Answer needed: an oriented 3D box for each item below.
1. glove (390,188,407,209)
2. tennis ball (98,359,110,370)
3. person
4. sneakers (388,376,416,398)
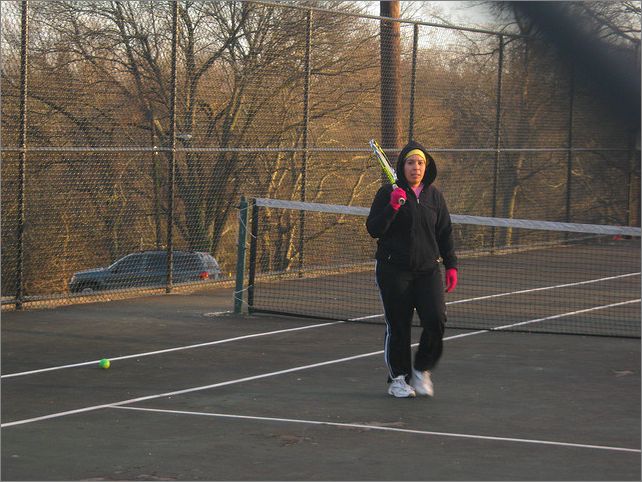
[{"bbox_3d":[0.749,-0.411,9.858,0.146,0.224,0.220,2,8,3],"label":"glove"},{"bbox_3d":[-2.344,1.335,11.033,0.100,0.095,0.096,-19,10,4],"label":"tennis ball"},{"bbox_3d":[0.952,0.279,10.162,0.771,2.520,0.640,3,8,8],"label":"person"},{"bbox_3d":[0.797,1.463,10.169,0.272,0.158,0.168,-3,-4,36],"label":"sneakers"}]
